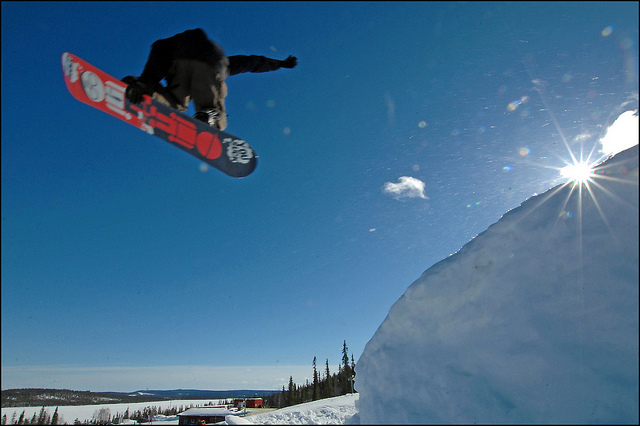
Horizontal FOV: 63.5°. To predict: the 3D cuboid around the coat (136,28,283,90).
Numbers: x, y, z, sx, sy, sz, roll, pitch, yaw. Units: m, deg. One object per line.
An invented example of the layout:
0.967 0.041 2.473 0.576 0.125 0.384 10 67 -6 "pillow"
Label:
-2.536 -3.340 11.140 2.808 0.984 0.813 -5 -35 -16 "coat"
